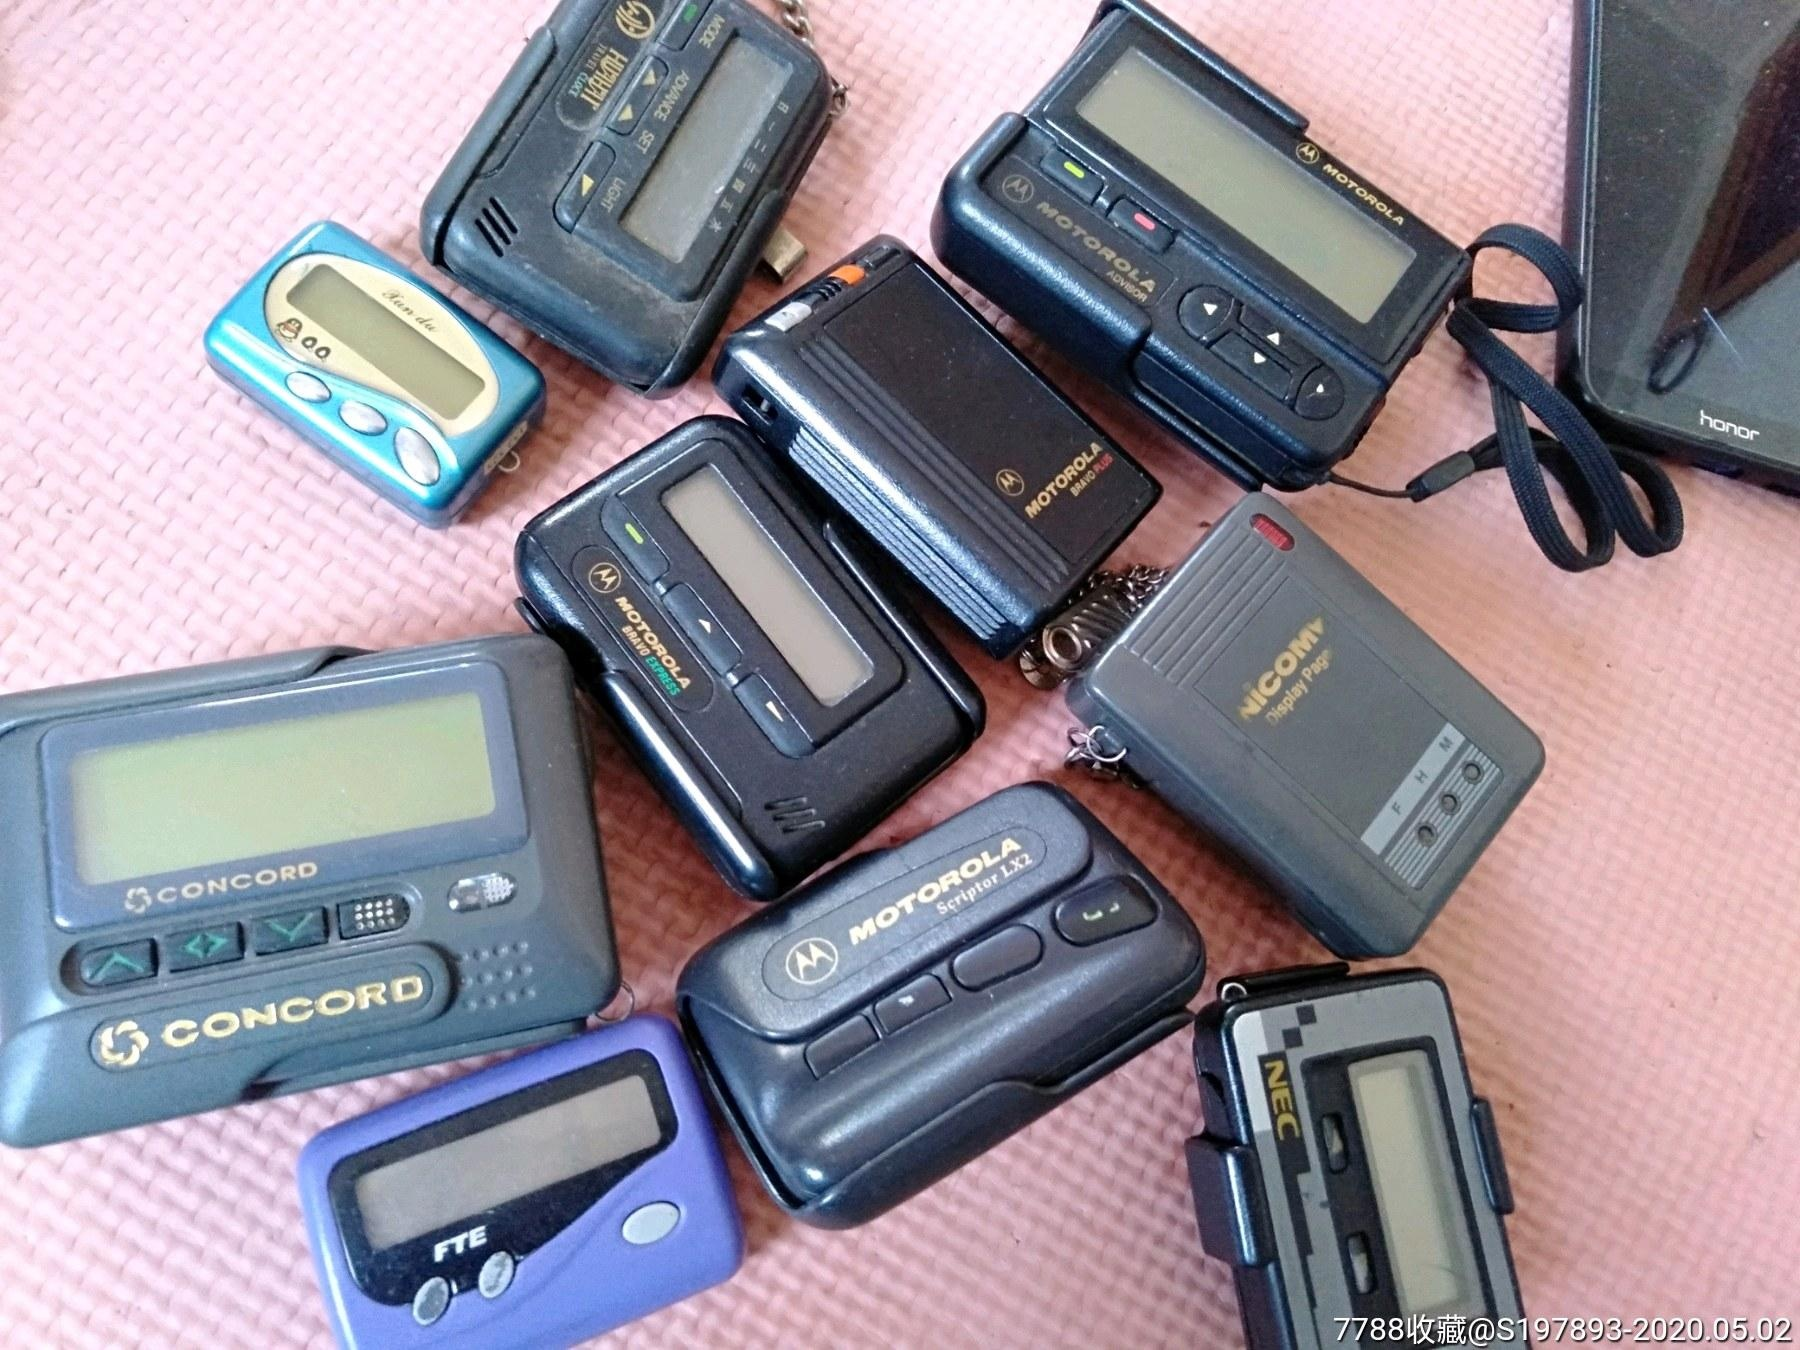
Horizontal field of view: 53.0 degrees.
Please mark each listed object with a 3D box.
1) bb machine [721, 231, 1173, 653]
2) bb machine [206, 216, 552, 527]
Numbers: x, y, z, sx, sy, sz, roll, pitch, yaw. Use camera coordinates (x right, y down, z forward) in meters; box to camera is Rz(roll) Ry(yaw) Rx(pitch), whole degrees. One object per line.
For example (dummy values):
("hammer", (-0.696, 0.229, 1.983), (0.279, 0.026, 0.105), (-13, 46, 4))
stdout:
("bb machine", (0.037, -0.185, 1.490), (0.258, 0.105, 0.389), (-40, 86, -20))
("bb machine", (-0.442, -0.244, 1.563), (0.282, 0.094, 0.204), (38, 80, 1))
